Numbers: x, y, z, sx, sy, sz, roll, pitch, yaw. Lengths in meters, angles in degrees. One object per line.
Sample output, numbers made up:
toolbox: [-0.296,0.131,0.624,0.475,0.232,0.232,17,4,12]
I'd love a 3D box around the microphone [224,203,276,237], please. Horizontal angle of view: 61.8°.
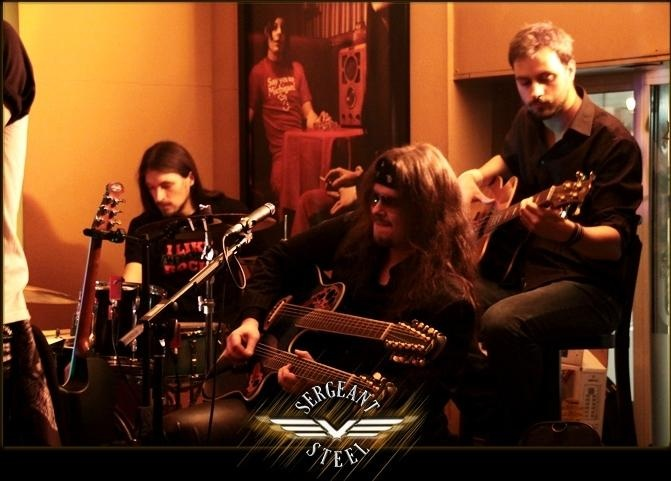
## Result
microphone: [-0.406,-0.090,2.688,0.231,0.068,0.052,-33,43,-25]

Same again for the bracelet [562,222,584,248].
bracelet: [1.109,-0.023,2.607,0.086,0.068,0.088,7,53,47]

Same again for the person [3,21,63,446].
person: [-1.538,-0.002,2.737,0.244,2.116,0.327,-4,5,-29]

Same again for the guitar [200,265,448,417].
guitar: [-0.040,0.483,2.838,0.204,0.780,1.406,40,-25,-32]

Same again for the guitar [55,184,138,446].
guitar: [-1.221,0.391,2.769,0.385,1.331,0.384,-2,5,-8]

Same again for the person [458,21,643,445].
person: [1.019,-0.045,2.654,0.780,1.967,0.346,0,5,17]

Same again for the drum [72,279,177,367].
drum: [-1.270,0.462,3.004,0.447,0.476,0.472,-9,-11,35]
